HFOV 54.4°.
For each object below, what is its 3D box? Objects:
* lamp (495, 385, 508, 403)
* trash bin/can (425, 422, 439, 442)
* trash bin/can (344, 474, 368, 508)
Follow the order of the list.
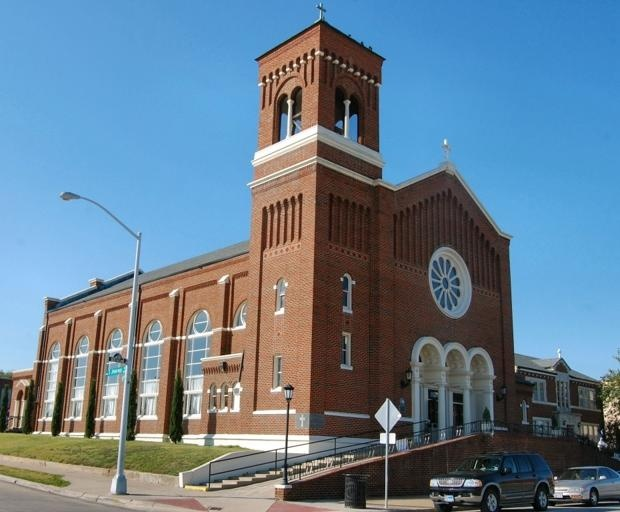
[{"bbox_3d":[12.802,9.114,40.265,0.812,1.049,0.707,-5,-23,13],"label":"lamp"},{"bbox_3d":[6.773,9.703,33.476,0.767,1.575,0.828,1,-14,9],"label":"trash bin/can"},{"bbox_3d":[1.696,8.639,22.409,0.879,1.395,0.944,-1,-9,9],"label":"trash bin/can"}]
